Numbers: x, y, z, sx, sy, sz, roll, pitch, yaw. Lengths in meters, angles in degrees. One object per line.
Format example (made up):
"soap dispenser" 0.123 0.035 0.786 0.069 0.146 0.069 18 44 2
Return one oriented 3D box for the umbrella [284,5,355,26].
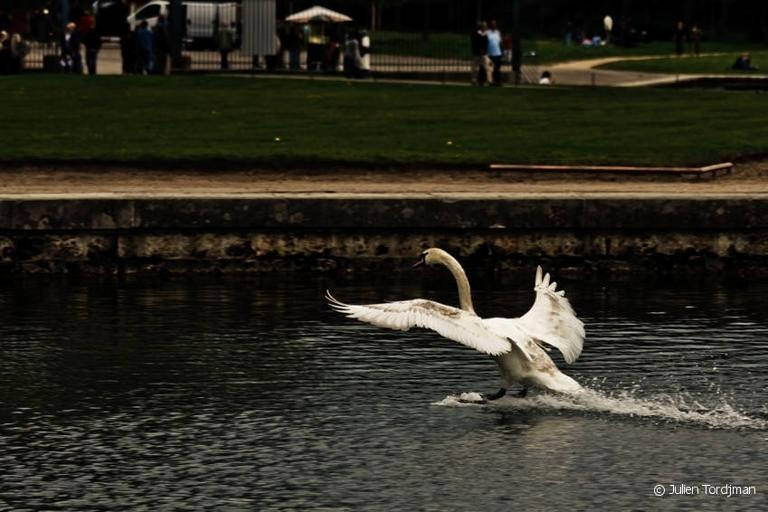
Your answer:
"umbrella" -1.760 -6.436 48.778 1.073 0.431 1.977 4 8 35
